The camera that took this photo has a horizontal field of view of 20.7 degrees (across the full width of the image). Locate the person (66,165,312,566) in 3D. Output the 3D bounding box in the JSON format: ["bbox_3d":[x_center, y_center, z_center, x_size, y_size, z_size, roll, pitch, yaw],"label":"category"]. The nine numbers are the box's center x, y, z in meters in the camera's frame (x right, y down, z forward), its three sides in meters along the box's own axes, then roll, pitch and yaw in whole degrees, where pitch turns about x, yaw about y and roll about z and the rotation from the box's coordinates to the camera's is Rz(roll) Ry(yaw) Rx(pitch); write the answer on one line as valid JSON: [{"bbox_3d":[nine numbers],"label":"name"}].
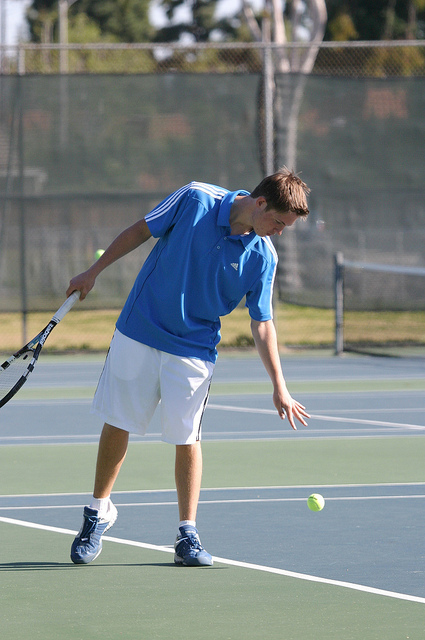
[{"bbox_3d":[-0.110,0.181,4.546,0.930,1.576,0.499,3,3,5],"label":"person"}]

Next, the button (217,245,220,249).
[{"bbox_3d":[0.021,-0.276,4.399,0.012,0.013,0.004,0,1,1],"label":"button"}]
